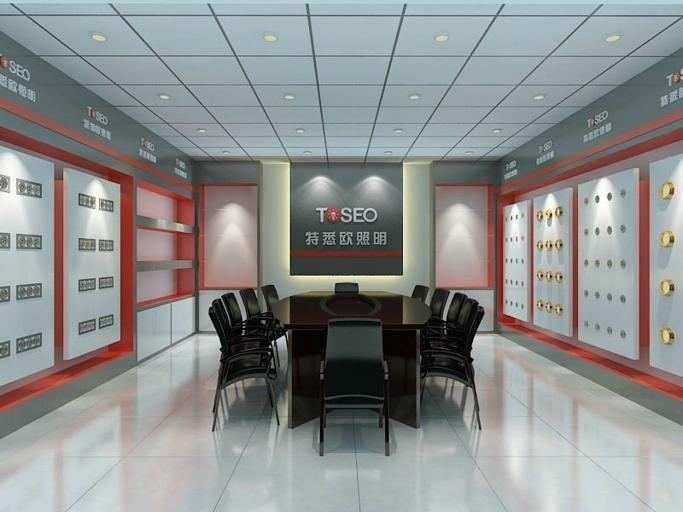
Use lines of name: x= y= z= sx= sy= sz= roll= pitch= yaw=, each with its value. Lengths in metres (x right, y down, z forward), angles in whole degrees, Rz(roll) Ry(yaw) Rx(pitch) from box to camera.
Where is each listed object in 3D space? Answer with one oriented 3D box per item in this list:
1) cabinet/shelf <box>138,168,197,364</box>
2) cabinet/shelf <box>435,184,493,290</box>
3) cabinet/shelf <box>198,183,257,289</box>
cabinet/shelf: x=-3.155 y=0.196 z=7.646 sx=0.718 sy=2.900 sz=2.444 roll=-1 pitch=8 yaw=-8
cabinet/shelf: x=2.546 y=-0.407 z=9.055 sx=1.107 sy=2.121 sz=0.408 roll=0 pitch=8 yaw=1
cabinet/shelf: x=-2.383 y=-0.410 z=9.061 sx=1.117 sy=2.115 sz=0.440 roll=-1 pitch=8 yaw=-8
